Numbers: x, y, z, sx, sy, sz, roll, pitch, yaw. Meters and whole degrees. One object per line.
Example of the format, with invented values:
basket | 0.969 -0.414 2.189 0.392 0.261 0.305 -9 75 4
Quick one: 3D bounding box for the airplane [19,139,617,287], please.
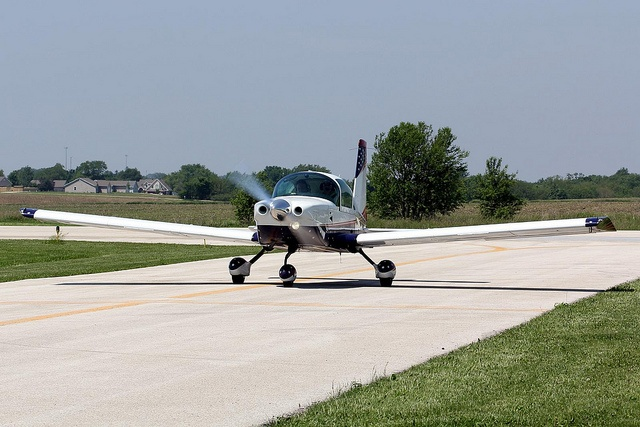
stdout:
airplane | 0.307 0.296 21.643 13.208 3.174 5.503 -2 -2 21
